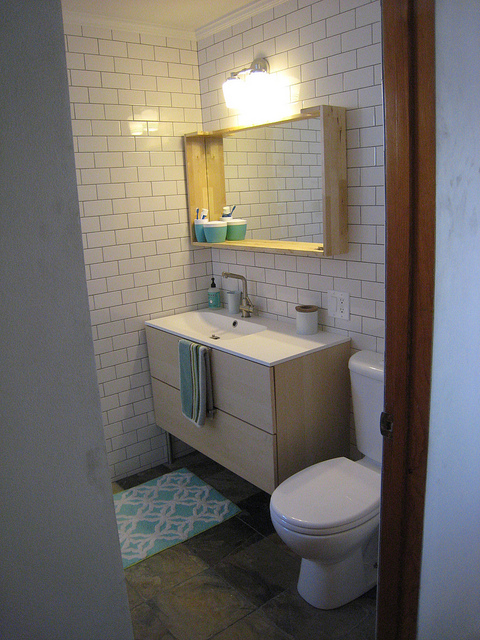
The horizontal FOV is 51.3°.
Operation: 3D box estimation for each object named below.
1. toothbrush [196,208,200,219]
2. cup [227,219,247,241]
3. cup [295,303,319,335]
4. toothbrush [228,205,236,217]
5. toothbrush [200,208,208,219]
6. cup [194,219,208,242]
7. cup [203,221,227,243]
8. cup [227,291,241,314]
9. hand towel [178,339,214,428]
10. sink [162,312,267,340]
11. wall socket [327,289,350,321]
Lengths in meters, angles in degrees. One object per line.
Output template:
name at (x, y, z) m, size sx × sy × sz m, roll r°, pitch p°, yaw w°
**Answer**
toothbrush at (-0.256, -0.649, 3.024) m, size 0.018 × 0.052 × 0.014 m, roll -5°, pitch 10°, yaw -6°
cup at (-0.018, -0.513, 2.841) m, size 0.098 × 0.112 × 0.118 m, roll 7°, pitch 15°, yaw 32°
cup at (0.326, 0.000, 2.494) m, size 0.123 × 0.146 × 0.128 m, roll -1°, pitch 23°, yaw 0°
toothbrush at (-0.040, -0.636, 2.926) m, size 0.020 × 0.082 × 0.022 m, roll 30°, pitch 7°, yaw 4°
toothbrush at (-0.220, -0.633, 2.986) m, size 0.060 × 0.059 × 0.052 m, roll -1°, pitch 11°, yaw 17°
cup at (-0.245, -0.546, 3.024) m, size 0.106 × 0.159 × 0.112 m, roll -2°, pitch 21°, yaw 1°
cup at (-0.144, -0.494, 2.812) m, size 0.107 × 0.113 × 0.123 m, roll 2°, pitch 9°, yaw 13°
cup at (-0.032, -0.103, 2.915) m, size 0.109 × 0.144 × 0.095 m, roll 3°, pitch 15°, yaw 7°
hand towel at (-0.223, 0.314, 2.491) m, size 0.073 × 0.400 × 0.240 m, roll -11°, pitch 12°, yaw -35°
sink at (-0.167, 0.056, 2.789) m, size 0.332 × 0.094 × 0.631 m, roll -14°, pitch 15°, yaw -39°
wall socket at (0.475, -0.074, 2.379) m, size 0.012 × 0.133 × 0.123 m, roll -9°, pitch 13°, yaw -33°
